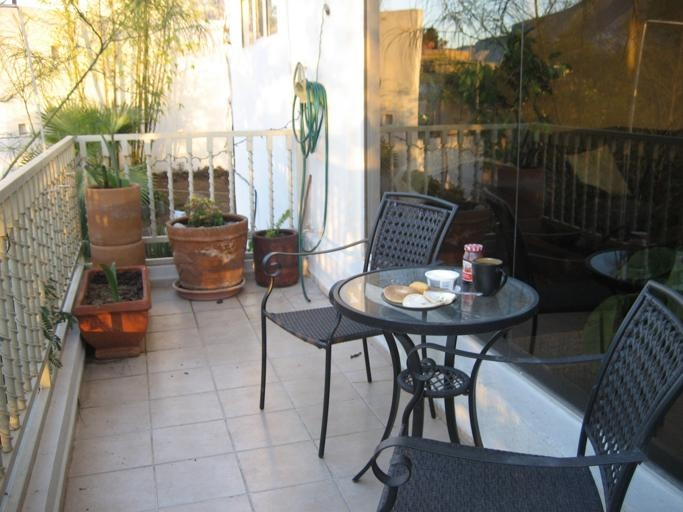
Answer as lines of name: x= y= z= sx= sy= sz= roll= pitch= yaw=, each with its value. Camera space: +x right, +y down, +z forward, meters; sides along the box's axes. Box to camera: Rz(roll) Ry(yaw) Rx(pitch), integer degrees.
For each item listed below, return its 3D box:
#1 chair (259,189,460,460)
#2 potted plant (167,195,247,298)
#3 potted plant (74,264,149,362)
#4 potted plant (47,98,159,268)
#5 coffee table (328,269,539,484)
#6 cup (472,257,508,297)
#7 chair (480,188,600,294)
chair: x=0.058 y=0.327 z=2.628 sx=0.784 sy=1.210 sz=0.665 roll=-5 pitch=15 yaw=-28
potted plant: x=-1.150 y=-0.086 z=4.501 sx=0.654 sy=0.841 sz=0.692 roll=-3 pitch=13 yaw=-18
potted plant: x=-1.542 y=0.374 z=3.581 sx=0.452 sy=0.396 sz=0.748 roll=-4 pitch=20 yaw=-22
potted plant: x=-1.907 y=-0.527 z=4.192 sx=0.669 sy=1.268 sz=0.606 roll=-10 pitch=20 yaw=-27
coffee table: x=0.352 y=0.335 z=2.213 sx=0.802 sy=0.987 sz=0.842 roll=-2 pitch=20 yaw=-5
cup: x=0.576 y=0.088 z=1.960 sx=0.101 sy=0.124 sz=0.156 roll=-10 pitch=14 yaw=-18
chair: x=0.851 y=-0.050 z=2.269 sx=0.432 sy=0.517 sz=0.288 roll=-1 pitch=-6 yaw=10
